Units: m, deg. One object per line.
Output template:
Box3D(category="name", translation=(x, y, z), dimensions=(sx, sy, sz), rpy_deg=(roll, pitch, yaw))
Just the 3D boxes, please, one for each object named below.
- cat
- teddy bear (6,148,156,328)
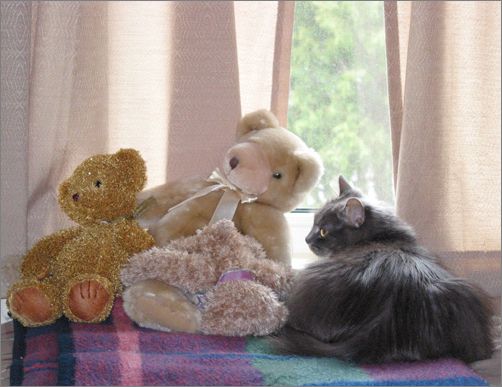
Box3D(category="cat", translation=(0.331, 0.187, 1.520), dimensions=(0.511, 0.422, 0.367), rpy_deg=(6, 1, 10))
Box3D(category="teddy bear", translation=(-0.457, 0.127, 1.509), dimensions=(0.432, 0.545, 0.335), rpy_deg=(-2, -5, 30))
